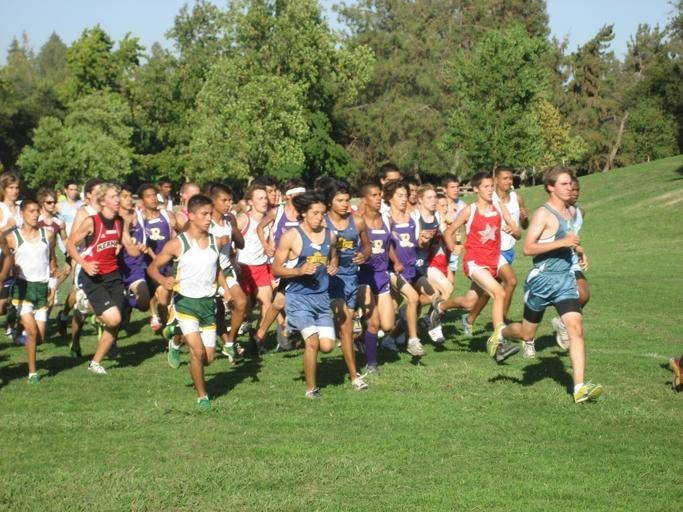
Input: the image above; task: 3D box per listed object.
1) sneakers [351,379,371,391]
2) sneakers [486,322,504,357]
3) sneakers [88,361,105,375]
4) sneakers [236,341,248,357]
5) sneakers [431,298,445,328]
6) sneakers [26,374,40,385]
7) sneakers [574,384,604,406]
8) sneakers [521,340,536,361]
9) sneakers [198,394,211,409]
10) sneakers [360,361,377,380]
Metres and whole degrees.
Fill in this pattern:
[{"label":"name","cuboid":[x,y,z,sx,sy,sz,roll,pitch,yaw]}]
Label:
[{"label":"sneakers","cuboid":[0.288,1.860,9.906,0.111,0.116,0.257,-2,-1,-32]},{"label":"sneakers","cuboid":[2.235,1.218,9.917,0.180,0.522,0.222,17,-3,44]},{"label":"sneakers","cuboid":[-3.895,1.790,10.963,0.340,0.164,0.153,10,12,29]},{"label":"sneakers","cuboid":[-1.719,1.610,11.859,0.151,0.215,0.460,-15,-8,-11]},{"label":"sneakers","cuboid":[1.630,0.953,11.491,0.167,0.509,0.207,8,4,-40]},{"label":"sneakers","cuboid":[-4.808,1.907,10.637,0.112,0.154,0.230,3,-14,-17]},{"label":"sneakers","cuboid":[3.150,1.727,8.745,0.411,0.212,0.163,-26,-3,20]},{"label":"sneakers","cuboid":[2.957,1.468,10.691,0.212,0.254,0.563,0,-1,2]},{"label":"sneakers","cuboid":[-1.864,1.954,9.252,0.180,0.161,0.255,-3,9,-13]},{"label":"sneakers","cuboid":[0.437,1.782,10.630,0.166,0.217,0.472,0,-8,6]}]
